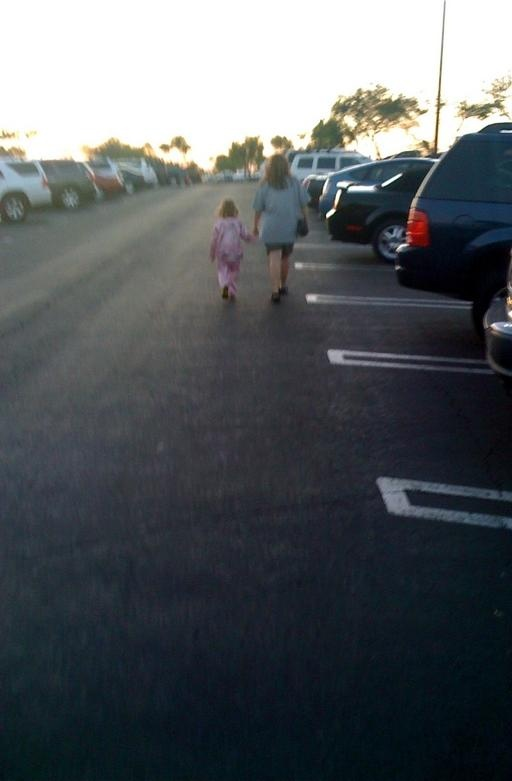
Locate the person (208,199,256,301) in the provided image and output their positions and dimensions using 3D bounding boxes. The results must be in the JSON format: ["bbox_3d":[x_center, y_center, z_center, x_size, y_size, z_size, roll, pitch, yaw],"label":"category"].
[{"bbox_3d":[-0.425,-2.256,8.152,0.598,1.585,1.116,0,6,-5],"label":"person"}]

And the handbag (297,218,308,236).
[{"bbox_3d":[0.739,-2.564,7.886,0.182,0.411,0.176,1,12,6],"label":"handbag"}]
